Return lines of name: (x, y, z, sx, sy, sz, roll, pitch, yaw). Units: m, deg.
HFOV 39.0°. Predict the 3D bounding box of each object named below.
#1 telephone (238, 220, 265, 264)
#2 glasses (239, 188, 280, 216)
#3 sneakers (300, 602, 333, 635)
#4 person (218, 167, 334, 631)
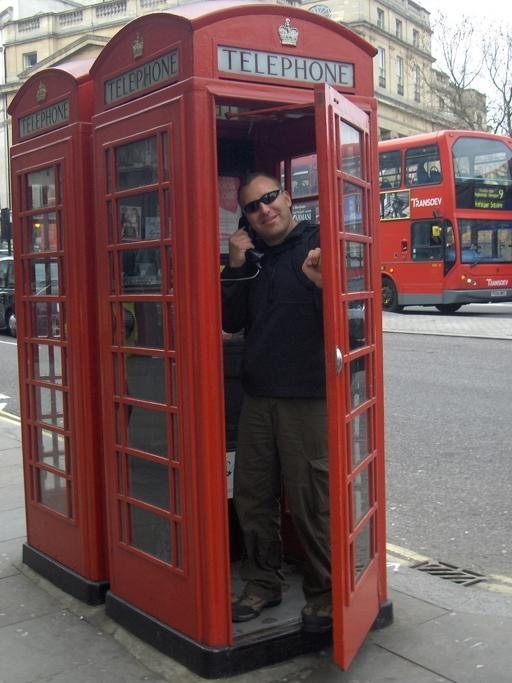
telephone: (-0.016, -0.427, 3.130, 0.060, 0.221, 0.082, -36, -38, 22)
glasses: (0.023, -0.585, 3.014, 0.157, 0.106, 0.092, -1, 2, 2)
sneakers: (0.240, 1.096, 2.873, 0.121, 0.118, 0.114, -1, 2, 5)
person: (0.084, 0.223, 3.043, 0.521, 1.859, 0.434, 0, 2, 15)
